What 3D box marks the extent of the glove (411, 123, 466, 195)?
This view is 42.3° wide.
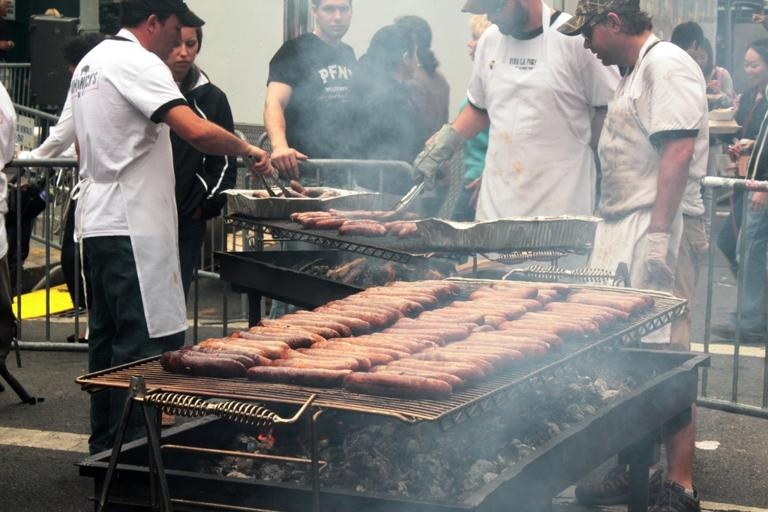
[{"bbox_3d":[0.355,-0.677,6.967,0.479,0.274,0.172,-44,-1,-24],"label":"glove"}]

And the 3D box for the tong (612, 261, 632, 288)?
[{"bbox_3d":[1.469,0.116,6.135,0.153,0.215,0.071,-1,-8,25],"label":"tong"}]
